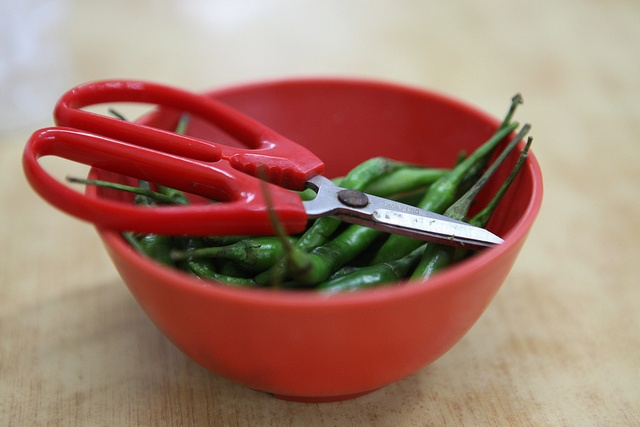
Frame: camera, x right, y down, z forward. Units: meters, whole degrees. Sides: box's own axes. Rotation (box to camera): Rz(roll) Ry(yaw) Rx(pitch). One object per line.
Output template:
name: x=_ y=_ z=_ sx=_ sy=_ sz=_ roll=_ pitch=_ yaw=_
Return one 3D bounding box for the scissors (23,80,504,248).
scissors: x=-0.087 y=-0.056 z=0.966 sx=0.620 sy=0.066 sz=0.321 roll=15 pitch=36 yaw=4

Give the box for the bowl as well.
bowl: x=-0.011 y=0.024 z=1.100 sx=0.655 sy=0.327 sz=0.569 roll=20 pitch=38 yaw=14
